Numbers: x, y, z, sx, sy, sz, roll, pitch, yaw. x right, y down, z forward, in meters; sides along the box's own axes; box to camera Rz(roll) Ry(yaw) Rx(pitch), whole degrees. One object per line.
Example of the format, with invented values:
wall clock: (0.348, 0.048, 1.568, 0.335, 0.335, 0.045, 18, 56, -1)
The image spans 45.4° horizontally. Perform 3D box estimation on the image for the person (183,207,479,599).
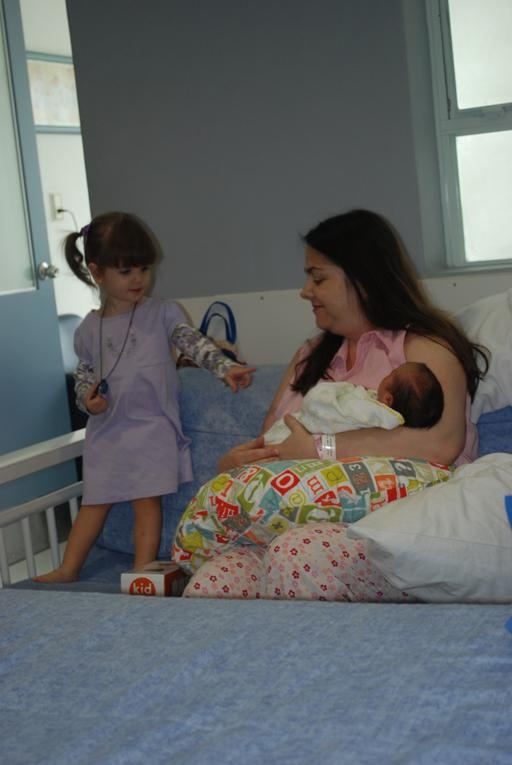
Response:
person: (0.137, 0.047, 1.273, 0.546, 0.736, 0.355, -6, 21, -18)

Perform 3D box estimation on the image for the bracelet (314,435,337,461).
bracelet: (0.125, 0.114, 1.095, 0.040, 0.029, 0.041, 7, 13, 36)
